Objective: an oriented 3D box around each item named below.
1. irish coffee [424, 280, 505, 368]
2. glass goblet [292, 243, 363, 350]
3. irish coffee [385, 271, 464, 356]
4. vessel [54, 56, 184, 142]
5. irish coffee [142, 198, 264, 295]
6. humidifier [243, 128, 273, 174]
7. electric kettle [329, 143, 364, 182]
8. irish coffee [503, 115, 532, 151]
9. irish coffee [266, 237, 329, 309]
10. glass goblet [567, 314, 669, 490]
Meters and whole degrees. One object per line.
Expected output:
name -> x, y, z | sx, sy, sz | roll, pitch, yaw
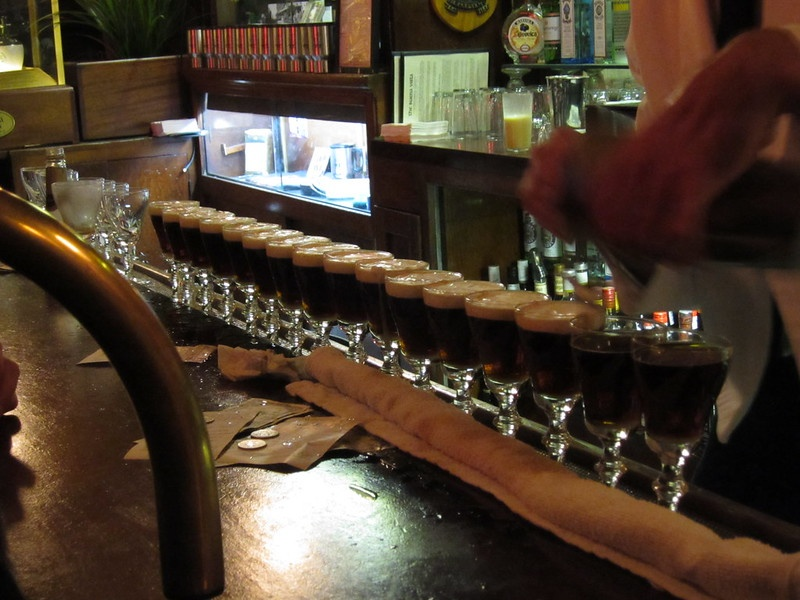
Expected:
irish coffee -> 0.099, 0.034, 1.040 | 0.114, 0.113, 0.111 | -10, 9, 14
glass goblet -> -0.163, 0.011, 1.311 | 0.117, 0.174, 0.117 | -18, -3, 42
irish coffee -> 0.026, 0.012, 1.080 | 0.135, 0.139, 0.133 | -2, 6, 1
vessel -> -1.895, -1.446, 4.551 | 0.453, 0.509, 0.857 | 25, 31, 17
irish coffee -> -0.450, -0.116, 1.581 | 0.234, 0.246, 0.240 | -3, 11, -14
humidifier -> -0.918, -0.932, 4.416 | 0.214, 0.326, 0.201 | -2, -7, 9
electric kettle -> -0.291, -0.743, 3.641 | 0.146, 0.164, 0.235 | -10, 15, -41
irish coffee -> 0.432, -0.622, 2.543 | 0.130, 0.130, 0.125 | -2, 7, -3
irish coffee -> -0.202, -0.055, 1.367 | 0.131, 0.130, 0.126 | -10, 12, -13
glass goblet -> 0.263, 0.155, 0.856 | 0.103, 0.252, 0.099 | 4, 9, 10
